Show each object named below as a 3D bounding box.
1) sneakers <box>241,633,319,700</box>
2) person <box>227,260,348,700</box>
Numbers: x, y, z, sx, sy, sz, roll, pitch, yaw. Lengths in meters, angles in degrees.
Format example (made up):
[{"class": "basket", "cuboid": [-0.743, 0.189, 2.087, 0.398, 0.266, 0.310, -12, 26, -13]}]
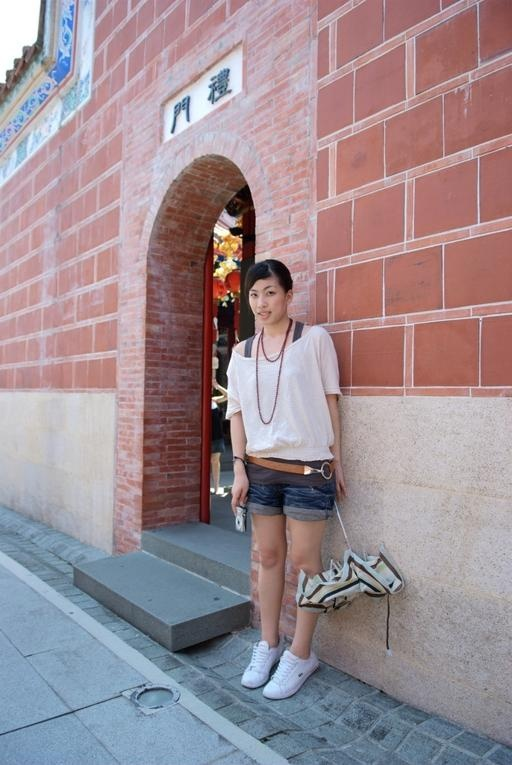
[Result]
[{"class": "sneakers", "cuboid": [0.085, 1.195, 2.369, 0.183, 0.117, 0.275, -4, -10, 34]}, {"class": "person", "cuboid": [0.100, 0.416, 2.452, 0.502, 1.839, 0.498, -1, 3, 29]}]
